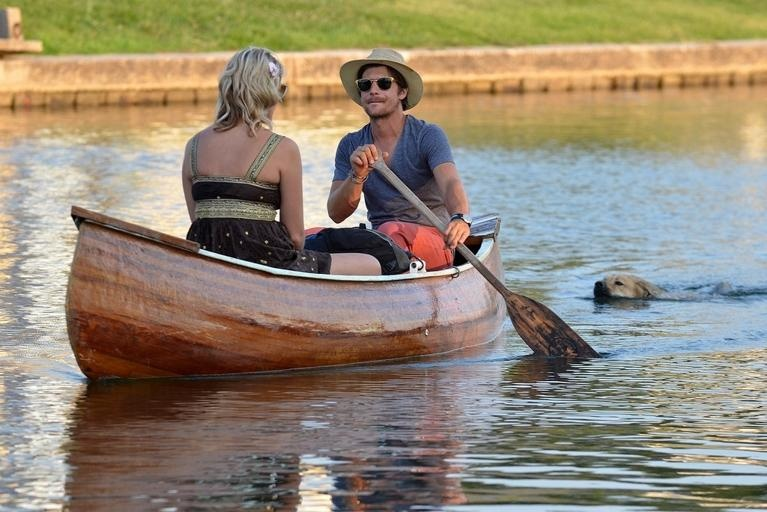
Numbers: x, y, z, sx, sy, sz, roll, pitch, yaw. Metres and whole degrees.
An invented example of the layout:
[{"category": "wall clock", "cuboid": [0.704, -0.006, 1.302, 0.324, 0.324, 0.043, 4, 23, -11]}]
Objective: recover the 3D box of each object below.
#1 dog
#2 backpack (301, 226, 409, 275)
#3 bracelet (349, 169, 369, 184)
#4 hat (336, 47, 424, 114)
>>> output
[{"category": "dog", "cuboid": [3.143, 0.380, 17.470, 2.261, 0.251, 0.490, 1, -5, -14]}, {"category": "backpack", "cuboid": [-0.322, -0.086, 15.343, 0.944, 0.226, 0.589, 4, -4, -10]}, {"category": "bracelet", "cuboid": [-0.279, -0.864, 15.345, 0.258, 0.085, 0.249, -1, 2, 1]}, {"category": "hat", "cuboid": [-0.028, -2.093, 16.046, 0.900, 0.252, 0.923, 18, -17, -2]}]
